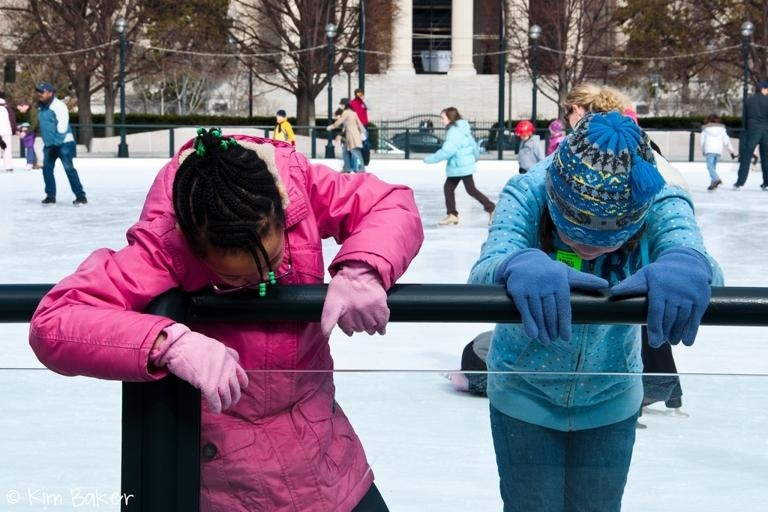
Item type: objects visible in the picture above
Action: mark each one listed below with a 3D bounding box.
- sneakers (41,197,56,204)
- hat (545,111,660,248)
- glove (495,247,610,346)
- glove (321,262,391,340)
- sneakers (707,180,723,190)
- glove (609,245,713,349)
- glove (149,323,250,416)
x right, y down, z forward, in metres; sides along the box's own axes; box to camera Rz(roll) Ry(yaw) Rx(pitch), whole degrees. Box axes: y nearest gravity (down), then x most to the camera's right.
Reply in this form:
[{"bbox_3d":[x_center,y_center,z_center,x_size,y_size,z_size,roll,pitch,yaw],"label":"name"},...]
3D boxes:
[{"bbox_3d":[-4.355,-0.683,16.598,0.165,0.098,0.080,5,6,7],"label":"sneakers"},{"bbox_3d":[0.909,-0.355,5.768,0.462,0.509,0.593,-4,23,-14],"label":"hat"},{"bbox_3d":[0.647,0.158,5.345,0.408,0.376,0.121,-11,-11,-12],"label":"glove"},{"bbox_3d":[-0.137,0.181,5.361,0.282,0.299,0.135,-1,7,-4],"label":"glove"},{"bbox_3d":[5.029,-1.034,19.906,0.127,0.167,0.371,-31,10,1],"label":"sneakers"},{"bbox_3d":[1.133,0.202,5.389,0.412,0.323,0.155,0,7,6],"label":"glove"},{"bbox_3d":[-0.734,0.446,5.237,0.132,0.380,0.308,-30,19,53],"label":"glove"}]
